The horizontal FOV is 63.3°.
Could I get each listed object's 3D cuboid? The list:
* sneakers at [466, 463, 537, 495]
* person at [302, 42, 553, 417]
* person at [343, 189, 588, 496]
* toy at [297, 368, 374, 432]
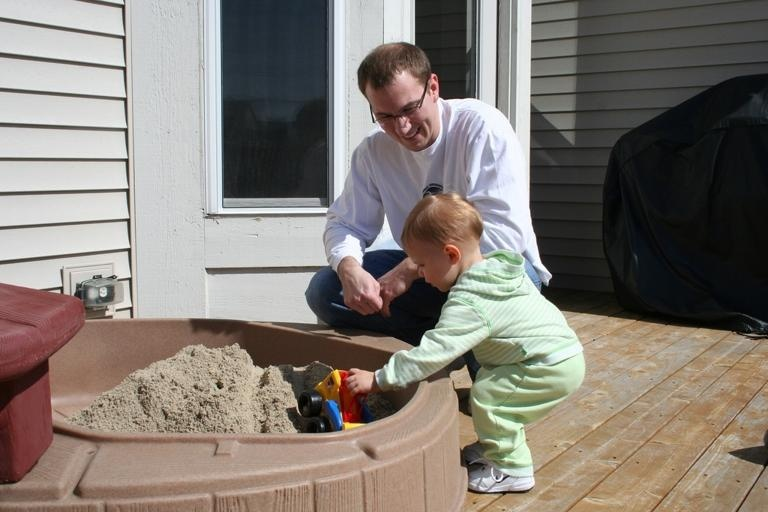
[{"bbox_3d":[0.472,0.885,2.545,0.270,0.129,0.111,3,0,1],"label":"sneakers"},{"bbox_3d":[0.220,-0.159,2.991,1.156,1.580,1.040,6,14,36],"label":"person"},{"bbox_3d":[0.345,0.350,2.503,0.893,1.179,0.336,-4,12,-13],"label":"person"},{"bbox_3d":[-0.178,0.585,2.412,0.273,0.260,0.257,10,-10,-44],"label":"toy"}]
